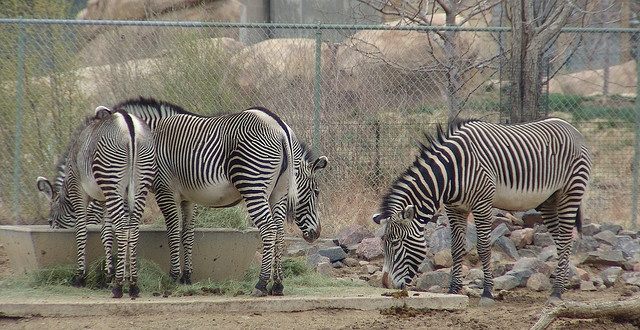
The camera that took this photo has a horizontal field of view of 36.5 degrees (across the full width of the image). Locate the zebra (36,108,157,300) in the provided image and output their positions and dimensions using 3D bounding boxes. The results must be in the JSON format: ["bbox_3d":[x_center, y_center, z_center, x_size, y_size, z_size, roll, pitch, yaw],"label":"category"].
[{"bbox_3d":[-4.326,0.827,19.581,1.966,3.794,0.797,-6,-6,31],"label":"zebra"}]
